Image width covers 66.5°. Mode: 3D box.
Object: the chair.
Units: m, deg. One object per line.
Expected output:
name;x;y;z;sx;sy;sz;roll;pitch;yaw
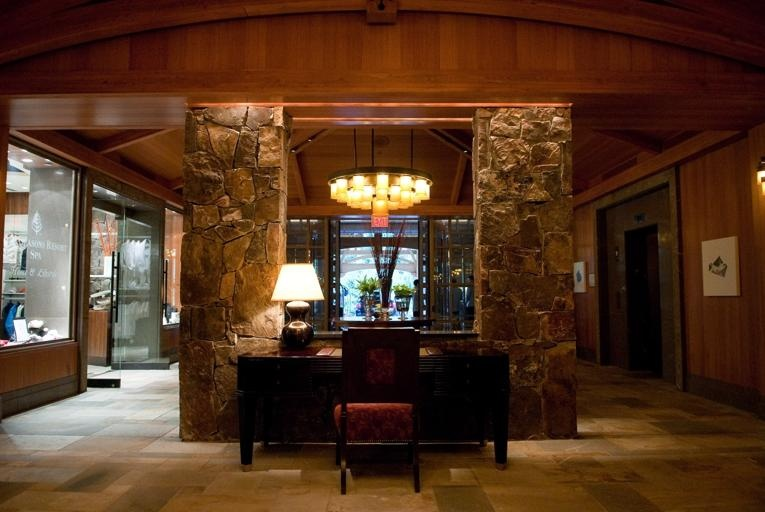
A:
chair;-0.061;1.369;5.430;0.782;1.462;0.671;-1;9;-5

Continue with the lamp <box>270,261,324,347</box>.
lamp;-0.912;0.526;6.174;0.519;0.896;0.400;-2;9;-10
